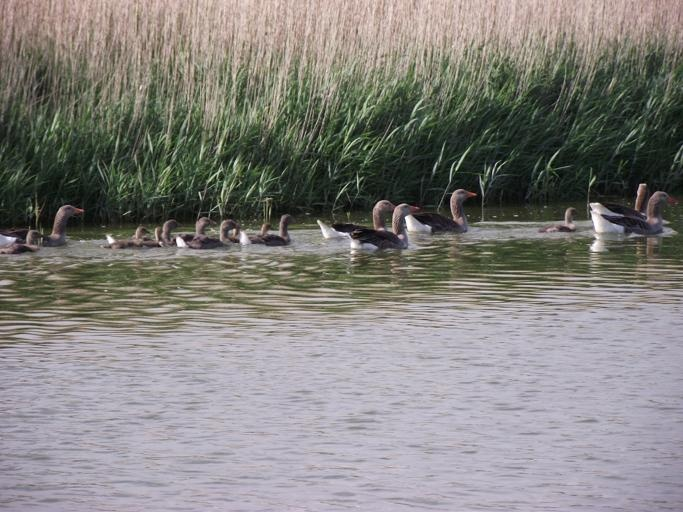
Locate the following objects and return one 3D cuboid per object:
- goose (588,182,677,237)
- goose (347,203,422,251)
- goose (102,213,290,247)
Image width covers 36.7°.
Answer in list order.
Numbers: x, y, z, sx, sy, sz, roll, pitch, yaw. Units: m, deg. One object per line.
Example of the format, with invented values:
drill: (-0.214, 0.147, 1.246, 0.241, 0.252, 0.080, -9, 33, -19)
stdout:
goose: (4.866, -0.708, 17.132, 1.701, 0.700, 0.776, -4, 7, -38)
goose: (0.779, -0.392, 15.739, 1.609, 0.716, 0.499, -3, 12, -24)
goose: (-2.074, -0.367, 15.445, 2.749, 0.473, 1.042, 0, 5, -7)
